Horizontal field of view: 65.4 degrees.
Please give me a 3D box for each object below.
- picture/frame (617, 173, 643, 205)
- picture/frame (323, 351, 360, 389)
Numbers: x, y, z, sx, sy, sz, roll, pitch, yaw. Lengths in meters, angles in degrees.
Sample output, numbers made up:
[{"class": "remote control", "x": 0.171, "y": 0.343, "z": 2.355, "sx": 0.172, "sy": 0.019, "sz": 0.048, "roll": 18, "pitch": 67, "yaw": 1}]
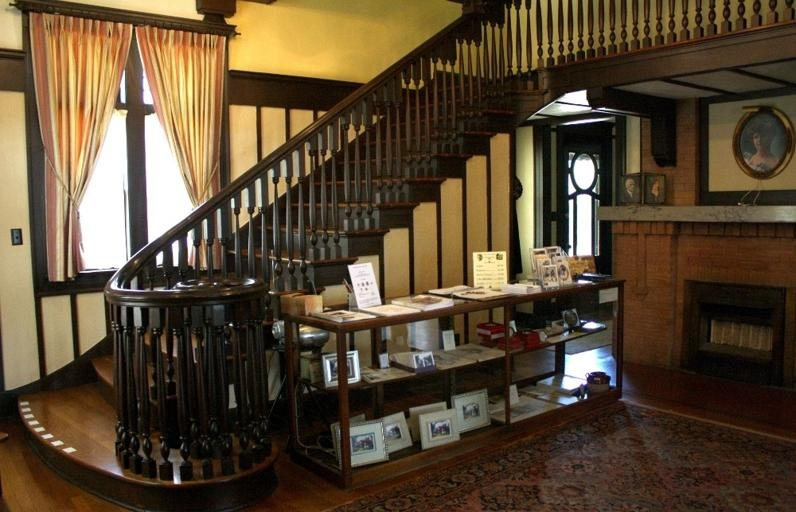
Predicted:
[{"class": "picture/frame", "x": 2.914, "y": -0.839, "z": 7.725, "sx": 0.252, "sy": 0.381, "sz": 0.419, "roll": -3, "pitch": 5, "yaw": -23}, {"class": "picture/frame", "x": -0.490, "y": 0.962, "z": 5.211, "sx": 0.381, "sy": 0.295, "sz": 0.131, "roll": -2, "pitch": 0, "yaw": -35}]
